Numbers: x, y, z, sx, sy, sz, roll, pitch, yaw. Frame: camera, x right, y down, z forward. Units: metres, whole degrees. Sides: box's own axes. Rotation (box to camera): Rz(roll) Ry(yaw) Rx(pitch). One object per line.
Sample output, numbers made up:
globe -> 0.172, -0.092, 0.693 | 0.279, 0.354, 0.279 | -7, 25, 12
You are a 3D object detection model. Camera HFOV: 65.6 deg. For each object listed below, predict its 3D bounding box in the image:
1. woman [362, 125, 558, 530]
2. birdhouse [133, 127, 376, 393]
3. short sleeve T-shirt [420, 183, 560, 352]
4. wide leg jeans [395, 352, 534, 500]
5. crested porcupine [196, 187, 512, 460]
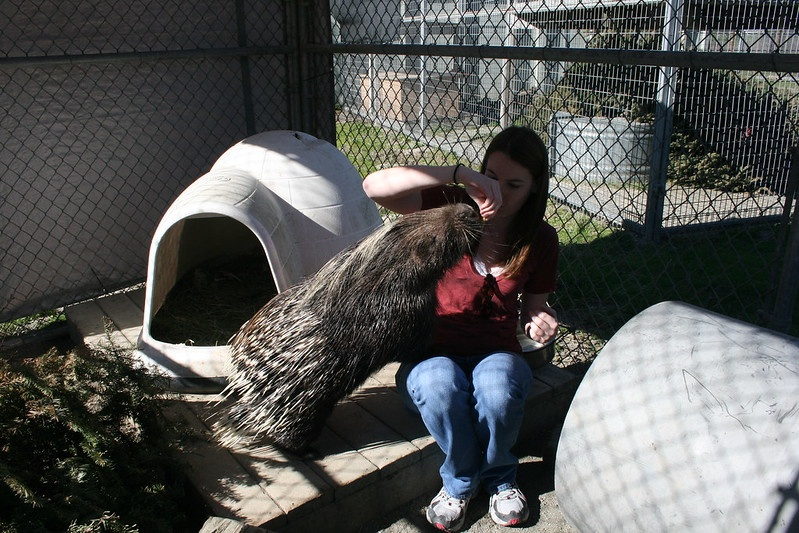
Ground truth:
woman -> 0.247, 0.265, 2.784 | 0.679, 1.781, 0.788 | 0, 5, 3
birdhouse -> -0.755, -0.170, 3.373 | 1.115, 0.929, 1.461 | 7, 26, 17
short sleeve T-shirt -> 0.354, -0.004, 2.566 | 0.610, 0.634, 0.350 | 2, 5, -5
wide leg jeans -> 0.262, 0.563, 2.598 | 0.589, 0.561, 0.411 | 2, 22, -4
crested porcupine -> -0.211, 0.261, 2.714 | 1.385, 0.709, 0.486 | -36, 51, -9
